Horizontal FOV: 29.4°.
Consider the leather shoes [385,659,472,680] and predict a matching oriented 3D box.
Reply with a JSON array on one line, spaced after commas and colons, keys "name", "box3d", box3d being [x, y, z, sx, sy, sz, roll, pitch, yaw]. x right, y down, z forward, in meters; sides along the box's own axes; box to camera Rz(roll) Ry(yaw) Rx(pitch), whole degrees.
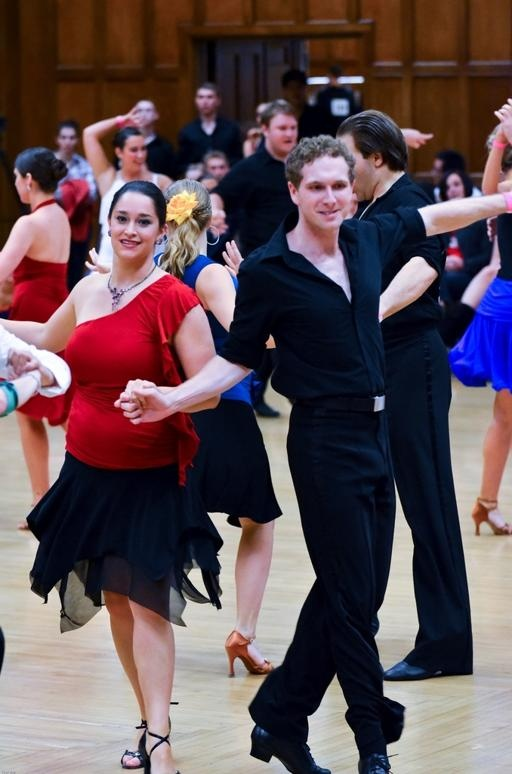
[{"name": "leather shoes", "box3d": [0.502, 0.805, 2.807, 0.261, 0.087, 0.082, 1, -6, -2]}]
